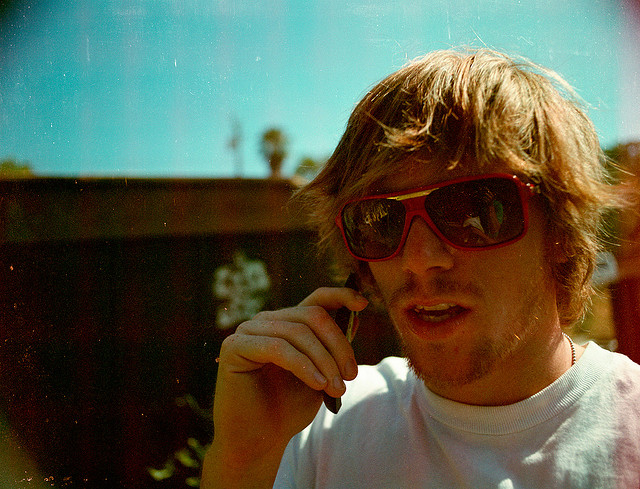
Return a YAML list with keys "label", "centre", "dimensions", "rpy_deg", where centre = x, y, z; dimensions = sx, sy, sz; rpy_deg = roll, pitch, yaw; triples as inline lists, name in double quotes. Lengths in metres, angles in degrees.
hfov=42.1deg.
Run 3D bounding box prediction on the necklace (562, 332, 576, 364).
- label: "necklace"
  centre: [1.072, 0.441, 3.530]
  dimensions: [0.026, 0.103, 0.072]
  rpy_deg: [-27, -31, 29]
